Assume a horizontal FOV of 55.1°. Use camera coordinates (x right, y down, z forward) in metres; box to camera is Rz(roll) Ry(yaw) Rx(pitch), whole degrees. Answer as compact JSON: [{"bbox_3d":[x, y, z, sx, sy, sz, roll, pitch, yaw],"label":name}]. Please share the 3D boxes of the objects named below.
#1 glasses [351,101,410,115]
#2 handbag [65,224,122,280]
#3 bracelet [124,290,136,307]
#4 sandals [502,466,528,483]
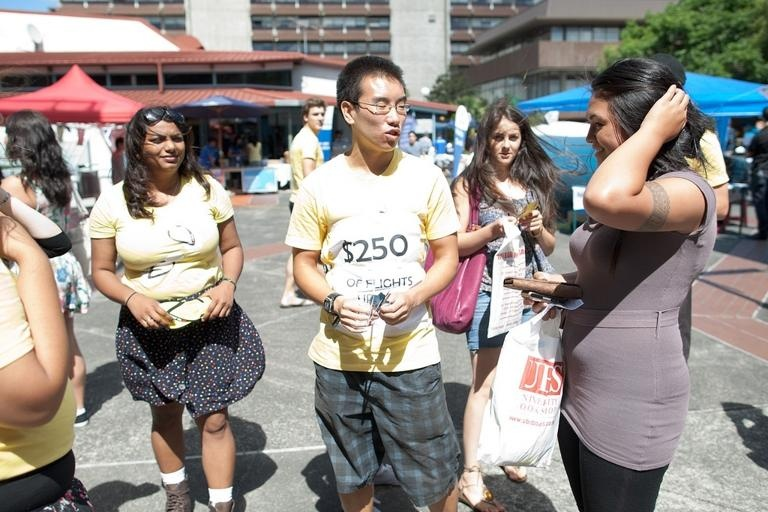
[{"bbox_3d":[0.007,-0.822,4.094,0.312,0.081,0.128,-9,23,-21],"label":"glasses"},{"bbox_3d":[-2.180,-0.045,5.481,0.395,0.414,0.414,-7,24,-16],"label":"handbag"},{"bbox_3d":[-1.545,0.264,4.495,0.075,0.087,0.067,-8,22,-18],"label":"bracelet"},{"bbox_3d":[0.910,1.501,5.189,0.134,0.104,0.272,-1,-1,-11],"label":"sandals"}]
